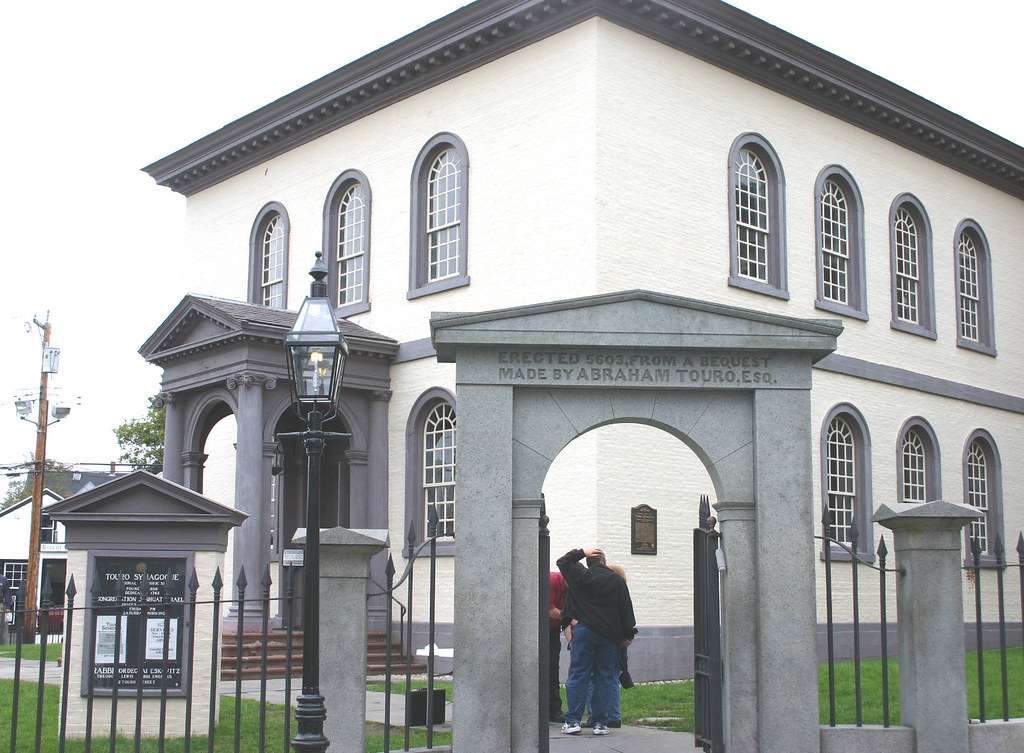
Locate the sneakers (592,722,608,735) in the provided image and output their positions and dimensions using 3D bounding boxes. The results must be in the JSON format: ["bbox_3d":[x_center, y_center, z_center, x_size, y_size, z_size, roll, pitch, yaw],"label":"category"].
[{"bbox_3d":[1.086,4.386,19.376,0.127,0.167,0.385,1,-5,6],"label":"sneakers"}]

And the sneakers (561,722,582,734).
[{"bbox_3d":[0.755,4.380,19.347,0.260,0.152,0.219,-2,-8,-11],"label":"sneakers"}]

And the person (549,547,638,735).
[{"bbox_3d":[1.079,3.314,19.503,0.878,2.274,0.969,-6,-8,23],"label":"person"}]
